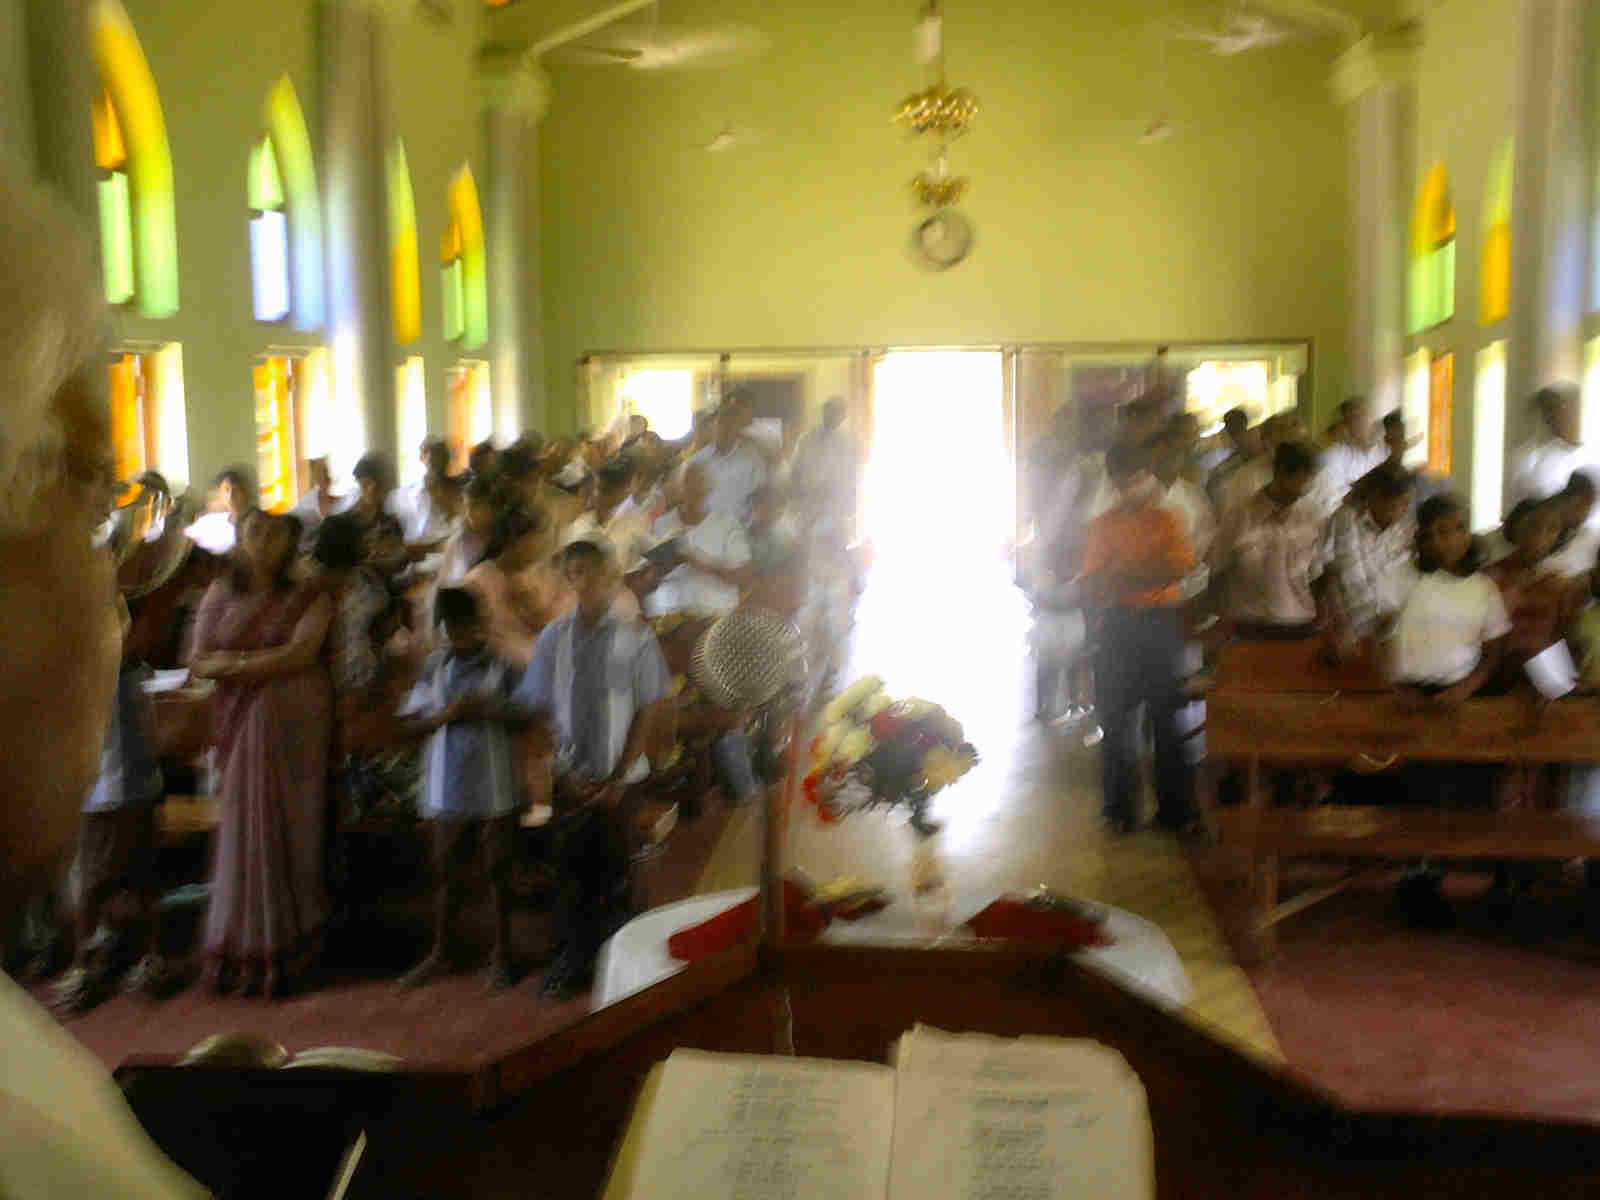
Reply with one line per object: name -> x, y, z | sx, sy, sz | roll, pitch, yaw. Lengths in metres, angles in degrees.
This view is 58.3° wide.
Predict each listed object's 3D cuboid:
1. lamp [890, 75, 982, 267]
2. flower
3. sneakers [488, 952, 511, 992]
lamp -> 0.445, -1.301, 4.517 | 0.222, 0.532, 0.289 | 4, 7, 36
flower -> 0.240, 0.394, 3.641 | 0.454, 0.234, 0.424 | -8, 39, 23
sneakers -> -0.873, 1.079, 4.178 | 0.068, 0.142, 0.094 | 0, -25, -8
